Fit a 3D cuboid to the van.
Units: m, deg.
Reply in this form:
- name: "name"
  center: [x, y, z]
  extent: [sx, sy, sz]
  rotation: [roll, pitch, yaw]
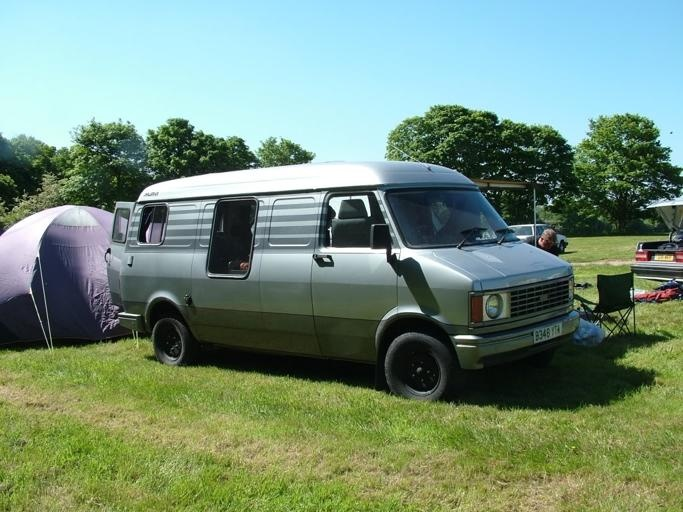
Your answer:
- name: "van"
  center: [-0.139, 0.166, 8.664]
  extent: [6.317, 2.705, 3.358]
  rotation: [-1, 2, 32]

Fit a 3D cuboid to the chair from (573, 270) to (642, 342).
- name: "chair"
  center: [4.621, 0.880, 9.461]
  extent: [0.926, 1.114, 0.875]
  rotation: [-5, 0, 22]
